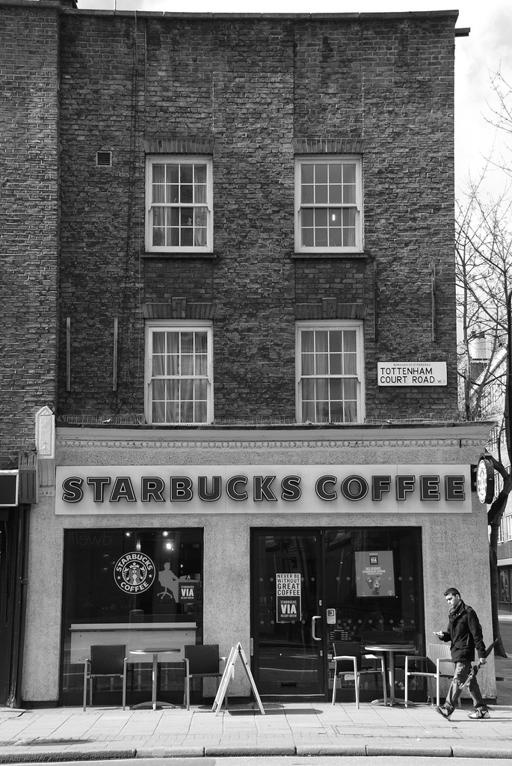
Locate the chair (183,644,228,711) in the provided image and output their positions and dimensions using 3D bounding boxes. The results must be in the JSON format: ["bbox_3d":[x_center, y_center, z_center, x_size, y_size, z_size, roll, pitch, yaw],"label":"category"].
[{"bbox_3d":[-0.776,4.035,16.142,0.583,1.143,0.682,2,-15,-11],"label":"chair"}]

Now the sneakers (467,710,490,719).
[{"bbox_3d":[2.862,4.259,15.056,0.291,0.172,0.115,0,-12,20],"label":"sneakers"}]

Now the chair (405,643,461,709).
[{"bbox_3d":[2.451,4.096,16.453,0.625,0.961,0.736,2,-11,10],"label":"chair"}]

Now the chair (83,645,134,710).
[{"bbox_3d":[-2.071,3.953,15.890,0.643,0.938,0.653,9,-18,-42],"label":"chair"}]

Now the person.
[{"bbox_3d":[2.675,3.506,15.323,0.639,1.691,1.126,-3,-12,8],"label":"person"}]

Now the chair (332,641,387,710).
[{"bbox_3d":[1.424,4.098,16.672,0.821,0.976,0.909,0,-5,-24],"label":"chair"}]
